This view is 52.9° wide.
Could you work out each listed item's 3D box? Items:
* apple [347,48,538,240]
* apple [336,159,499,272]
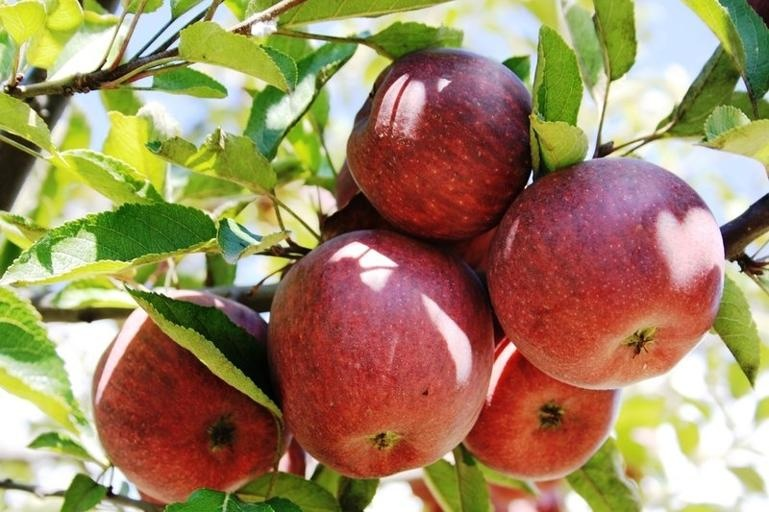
[{"bbox_3d":[0.168,-0.234,1.878,0.390,0.417,0.396,47,21,3],"label":"apple"},{"bbox_3d":[0.077,-0.056,2.013,0.292,0.376,0.316,0,-5,6],"label":"apple"}]
